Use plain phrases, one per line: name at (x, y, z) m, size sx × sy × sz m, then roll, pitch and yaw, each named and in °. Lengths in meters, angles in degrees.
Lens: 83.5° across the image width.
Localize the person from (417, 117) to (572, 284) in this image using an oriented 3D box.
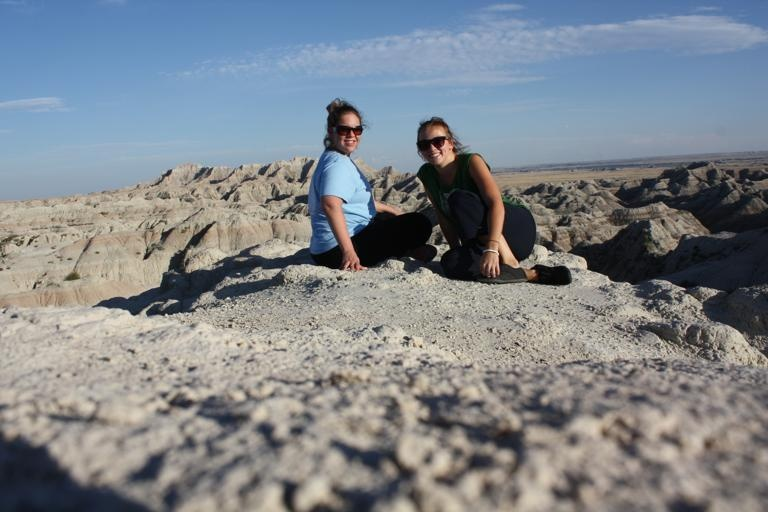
person at (0.876, -0.512, 3.840) m, size 0.963 × 1.385 × 1.172 m, roll 2°, pitch 0°, yaw -24°

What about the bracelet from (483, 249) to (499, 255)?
bracelet at (0.856, -0.044, 3.449) m, size 0.112 × 0.044 × 0.068 m, roll 1°, pitch 0°, yaw 10°

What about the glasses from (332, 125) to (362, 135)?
glasses at (-0.336, -1.215, 4.105) m, size 0.262 × 0.110 × 0.150 m, roll 1°, pitch 0°, yaw -9°
